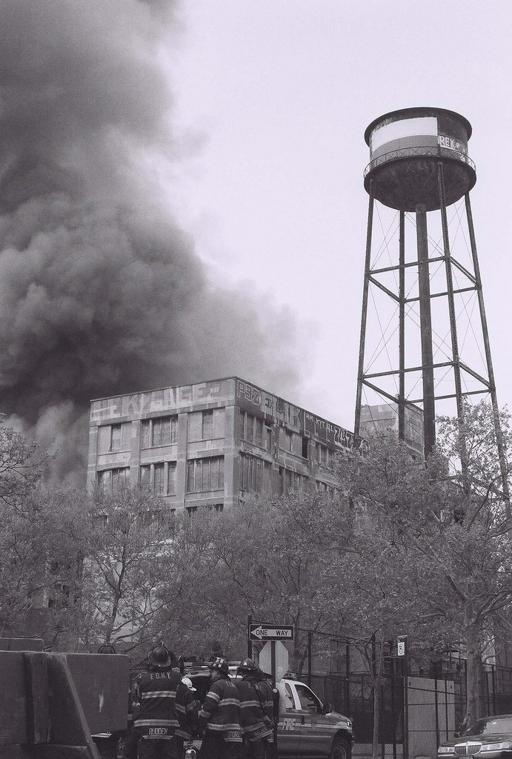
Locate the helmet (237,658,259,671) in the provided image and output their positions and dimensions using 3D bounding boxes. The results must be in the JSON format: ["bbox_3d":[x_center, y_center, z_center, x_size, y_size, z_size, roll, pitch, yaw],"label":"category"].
[{"bbox_3d":[-0.102,3.703,12.419,0.164,0.117,0.270,6,-8,-8],"label":"helmet"}]

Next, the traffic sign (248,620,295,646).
[{"bbox_3d":[0.249,4.470,16.932,0.730,0.346,0.943,2,-18,-3],"label":"traffic sign"}]
